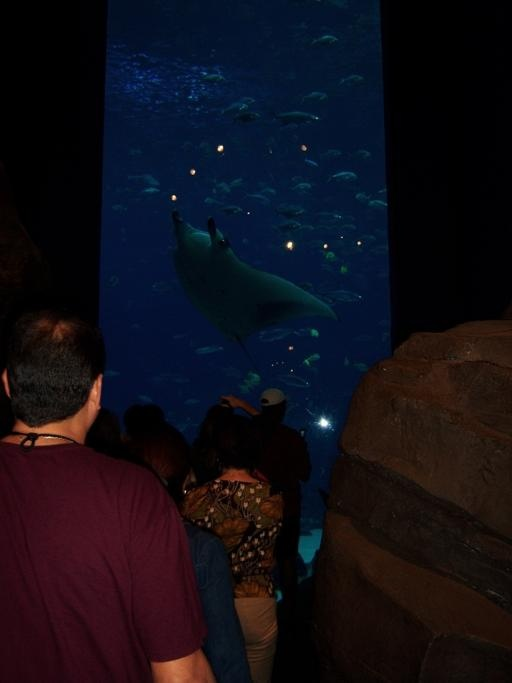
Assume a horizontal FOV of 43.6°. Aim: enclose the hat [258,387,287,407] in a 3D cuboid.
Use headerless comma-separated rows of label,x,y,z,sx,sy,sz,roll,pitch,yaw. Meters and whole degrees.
hat,0.112,0.325,3.852,0.122,0.070,0.122,-8,6,-43
